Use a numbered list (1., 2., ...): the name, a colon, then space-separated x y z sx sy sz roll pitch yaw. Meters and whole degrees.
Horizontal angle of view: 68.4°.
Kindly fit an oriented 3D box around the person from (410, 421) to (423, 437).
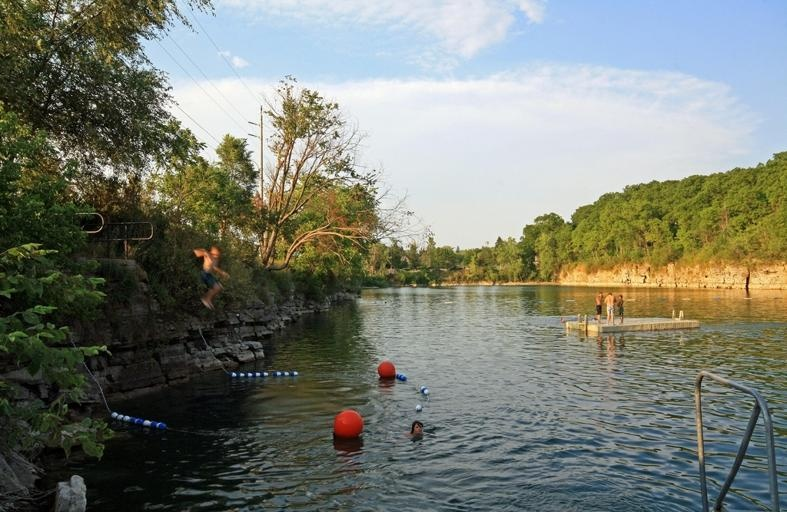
1. person: 0.957 6.940 23.519 0.536 0.469 0.705 -1 8 2
